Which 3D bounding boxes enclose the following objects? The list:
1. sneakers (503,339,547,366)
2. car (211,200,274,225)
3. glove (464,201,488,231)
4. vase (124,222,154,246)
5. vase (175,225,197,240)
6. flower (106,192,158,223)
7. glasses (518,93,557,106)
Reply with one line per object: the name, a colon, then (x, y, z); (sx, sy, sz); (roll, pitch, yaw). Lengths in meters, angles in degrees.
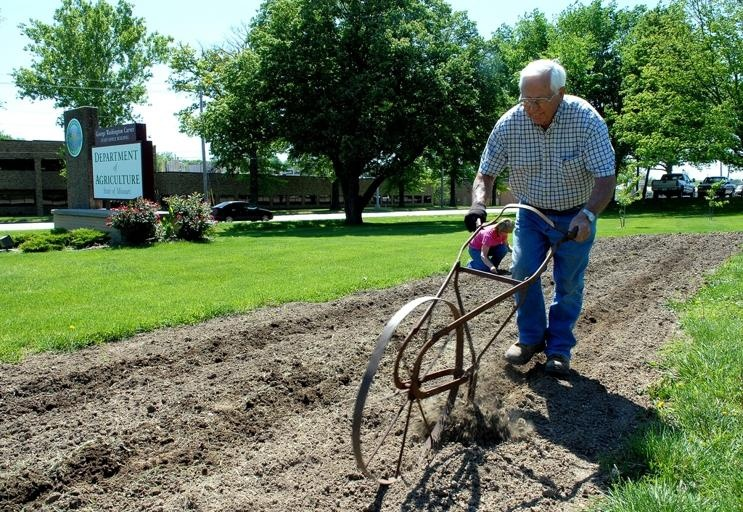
sneakers: (1.999, 1.227, 8.985); (0.617, 0.291, 0.211); (-7, 5, -29)
car: (-6.585, -2.179, 35.535); (3.546, 1.267, 1.517); (-5, 9, -29)
glove: (1.204, -0.432, 8.139); (0.227, 0.321, 0.347); (-2, 6, 10)
vase: (-6.830, -0.644, 20.617); (0.700, 0.477, 0.773); (-4, -40, -25)
vase: (-5.677, -0.702, 21.479); (0.630, 0.471, 0.321); (-5, 7, -10)
flower: (-7.076, -1.299, 20.652); (1.031, 0.702, 1.152); (-2, 8, 28)
glasses: (1.898, -1.787, 8.071); (0.392, 0.132, 0.152); (-3, 6, 12)
